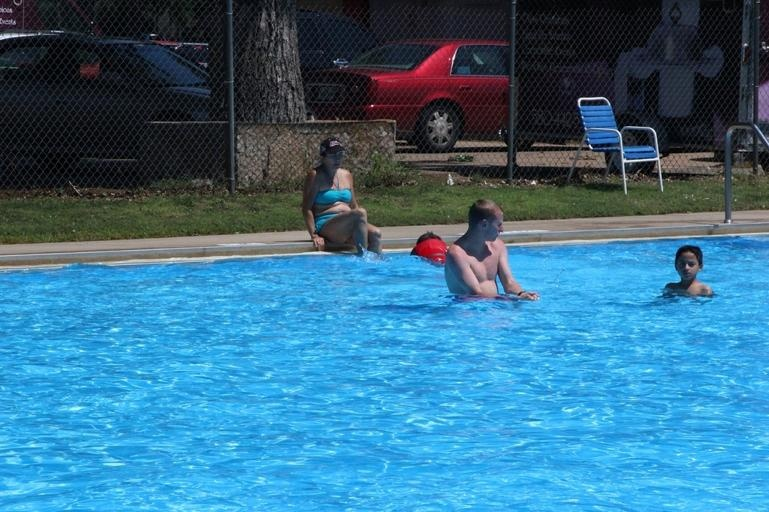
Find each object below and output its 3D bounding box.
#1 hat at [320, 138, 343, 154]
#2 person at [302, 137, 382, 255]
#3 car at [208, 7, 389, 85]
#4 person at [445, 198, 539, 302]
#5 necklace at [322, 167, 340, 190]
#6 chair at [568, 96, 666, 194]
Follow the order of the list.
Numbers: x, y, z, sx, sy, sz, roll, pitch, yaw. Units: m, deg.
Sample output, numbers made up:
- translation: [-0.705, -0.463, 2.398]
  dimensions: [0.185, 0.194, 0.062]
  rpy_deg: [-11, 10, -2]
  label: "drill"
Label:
- translation: [-0.682, -1.368, 14.004]
  dimensions: [0.265, 0.239, 0.205]
  rpy_deg: [1, 3, 19]
  label: "hat"
- translation: [-0.542, -0.736, 13.988]
  dimensions: [0.778, 1.453, 0.889]
  rpy_deg: [-5, 5, -35]
  label: "person"
- translation: [-1.520, -3.739, 19.458]
  dimensions: [2.570, 1.005, 1.188]
  rpy_deg: [-13, 15, -17]
  label: "car"
- translation: [1.042, -0.049, 11.780]
  dimensions: [0.740, 1.087, 0.714]
  rpy_deg: [2, 6, 44]
  label: "person"
- translation: [-0.700, -0.981, 14.153]
  dimensions: [0.198, 0.267, 0.064]
  rpy_deg: [7, -1, -24]
  label: "necklace"
- translation: [3.801, -1.877, 18.400]
  dimensions: [0.976, 1.418, 1.242]
  rpy_deg: [-8, 14, -35]
  label: "chair"
